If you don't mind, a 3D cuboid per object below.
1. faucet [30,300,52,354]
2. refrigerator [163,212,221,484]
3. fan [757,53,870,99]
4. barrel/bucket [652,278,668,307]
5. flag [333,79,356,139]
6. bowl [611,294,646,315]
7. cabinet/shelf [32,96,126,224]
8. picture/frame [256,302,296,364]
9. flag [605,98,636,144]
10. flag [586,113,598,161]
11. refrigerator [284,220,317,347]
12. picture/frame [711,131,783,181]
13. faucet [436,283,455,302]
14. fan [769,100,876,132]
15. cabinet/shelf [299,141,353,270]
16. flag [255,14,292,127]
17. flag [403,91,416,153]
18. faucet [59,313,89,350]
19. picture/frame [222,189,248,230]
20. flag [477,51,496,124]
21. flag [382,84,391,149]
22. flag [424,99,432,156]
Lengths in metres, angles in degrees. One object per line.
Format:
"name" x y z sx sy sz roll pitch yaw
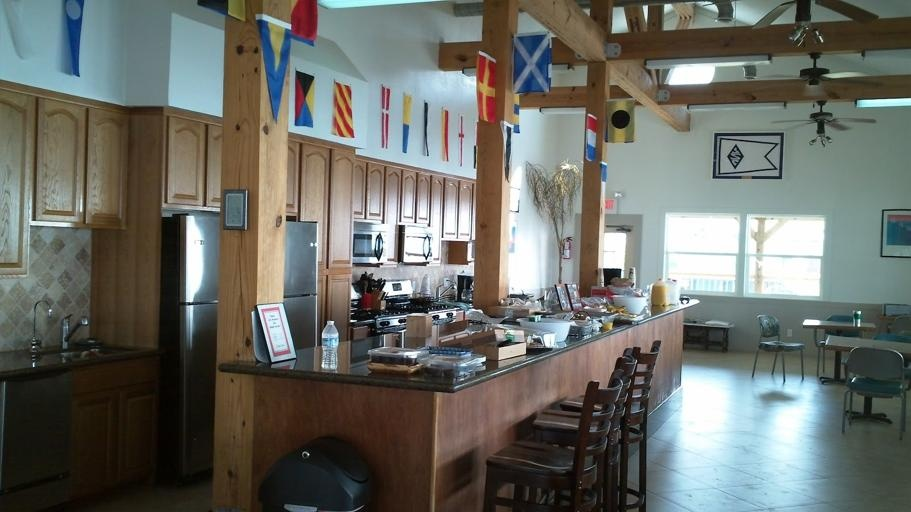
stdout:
"faucet" -4.395 0.708 6.643 0.151 0.519 0.178 4 8 -2
"refrigerator" -2.899 1.002 6.790 0.559 2.863 0.500 1 9 -23
"fan" 5.617 -2.721 9.451 0.821 0.647 2.609 11 10 43
"barrel/bucket" 3.025 0.579 9.247 0.257 0.309 0.258 4 8 -1
"flag" -1.475 -1.927 8.276 0.329 0.724 0.249 0 9 -28
"bowl" 2.234 0.617 8.129 0.320 0.134 0.298 1 1 0
"cabinet/shelf" -3.938 -0.954 6.591 0.865 1.290 0.273 -1 10 -31
"picture/frame" -1.532 0.661 5.385 0.299 0.475 0.210 -3 11 -41
"flag" 2.446 -1.997 9.288 0.413 0.630 0.381 6 8 10
"flag" 1.933 -1.684 8.892 0.086 0.726 0.704 1 4 21
"refrigerator" -1.853 0.356 7.587 0.580 1.514 0.342 -1 10 -33
"picture/frame" 6.250 -2.104 13.253 1.232 0.787 0.128 1 3 21
"faucet" -0.164 0.633 10.927 0.276 0.252 0.597 6 8 15
"fan" 7.021 -2.643 11.861 1.217 0.350 1.066 -3 7 -41
"cabinet/shelf" -1.665 -0.618 8.185 0.276 1.606 0.888 10 10 34
"flag" -1.573 -1.596 5.369 0.268 0.864 0.115 2 9 -17
"flag" -0.773 -2.095 9.956 0.174 0.925 0.408 4 8 -5
"faucet" -4.149 0.810 6.789 0.200 0.322 0.345 6 8 10
"picture/frame" -1.881 -0.392 5.336 0.250 0.343 0.073 7 9 22
"flag" 0.351 -1.842 6.902 0.118 0.729 0.387 9 9 30
"flag" -1.069 -2.093 9.545 0.159 0.940 0.358 4 8 -7
"flag" -0.467 -2.081 10.342 0.150 0.881 0.295 3 8 -7
